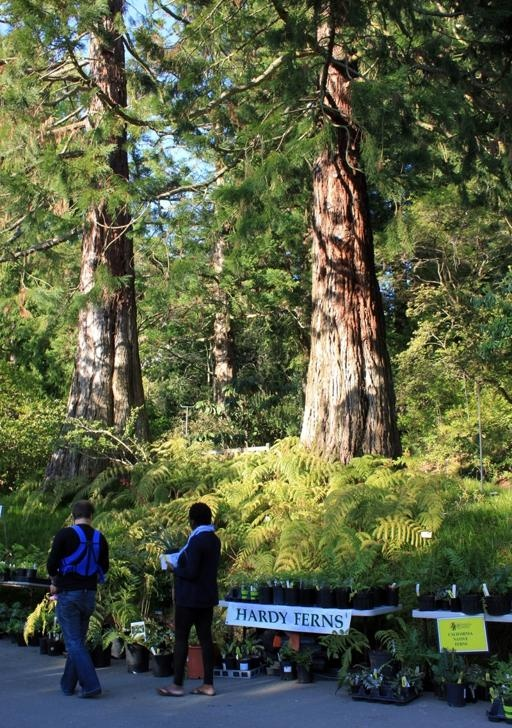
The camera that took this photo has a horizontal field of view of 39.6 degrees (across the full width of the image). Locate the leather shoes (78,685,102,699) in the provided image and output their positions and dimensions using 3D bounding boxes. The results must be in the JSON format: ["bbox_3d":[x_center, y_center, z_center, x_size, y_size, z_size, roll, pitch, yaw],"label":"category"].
[{"bbox_3d":[-1.171,2.339,5.093,0.193,0.088,0.071,-1,-12,3],"label":"leather shoes"}]

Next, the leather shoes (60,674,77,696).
[{"bbox_3d":[-1.375,2.362,5.212,0.084,0.146,0.142,3,-31,-11],"label":"leather shoes"}]

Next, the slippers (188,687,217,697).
[{"bbox_3d":[-0.382,2.322,5.117,0.175,0.076,0.066,2,-13,20],"label":"slippers"}]
